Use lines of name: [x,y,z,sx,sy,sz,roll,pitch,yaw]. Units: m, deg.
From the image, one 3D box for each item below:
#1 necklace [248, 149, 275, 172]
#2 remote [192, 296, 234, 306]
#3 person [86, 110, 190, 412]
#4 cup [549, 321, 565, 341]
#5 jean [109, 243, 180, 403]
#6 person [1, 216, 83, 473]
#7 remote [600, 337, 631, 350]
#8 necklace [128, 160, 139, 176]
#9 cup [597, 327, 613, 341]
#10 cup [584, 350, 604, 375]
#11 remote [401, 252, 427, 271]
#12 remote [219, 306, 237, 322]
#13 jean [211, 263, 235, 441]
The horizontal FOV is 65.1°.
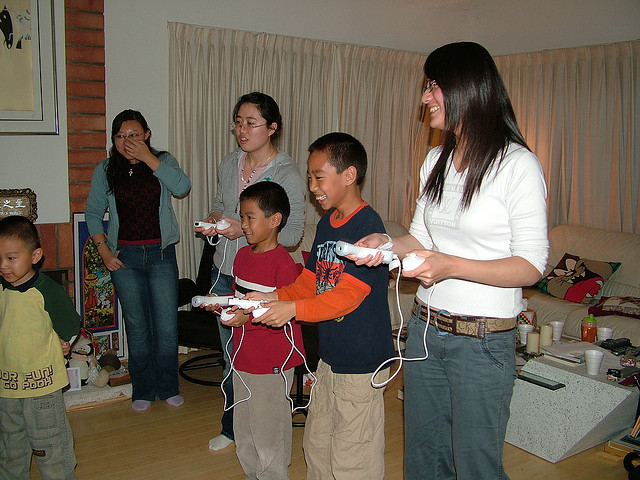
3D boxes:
necklace: [-0.355,-0.453,2.832,0.170,0.104,0.092,9,15,32]
remote: [-0.468,0.266,2.194,0.133,0.044,0.046,2,6,-8]
person: [-1.243,0.153,3.407,0.638,2.008,0.394,3,12,8]
cup: [1.708,0.656,3.641,0.111,0.126,0.116,1,-10,0]
jean: [-1.177,0.567,3.425,0.409,1.112,0.169,-4,13,-21]
person: [-1.372,0.530,2.434,0.337,1.249,0.333,1,12,-2]
remote: [1.998,0.709,3.399,0.145,0.041,0.088,-11,20,-12]
necklace: [-1.242,-0.478,3.319,0.085,0.093,0.022,-7,9,-7]
cup: [2.000,0.648,3.524,0.086,0.078,0.086,-3,5,0]
cup: [1.653,0.737,3.046,0.119,0.142,0.124,3,-2,0]
remote: [0.309,0.073,1.646,0.078,0.059,0.040,4,13,13]
remote: [-0.415,0.330,2.224,0.080,0.079,0.041,6,13,21]
jean: [-0.547,0.701,2.878,0.105,1.076,0.442,-3,13,-19]
